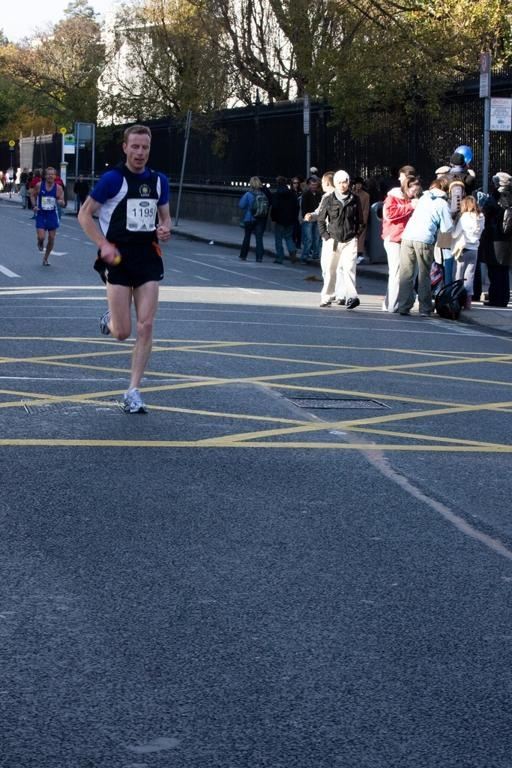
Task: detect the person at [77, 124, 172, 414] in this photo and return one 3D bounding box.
[{"bbox_3d":[-0.957,-0.794,6.289,0.615,2.084,0.604,2,5,-7],"label":"person"}]

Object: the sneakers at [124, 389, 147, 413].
[{"bbox_3d":[-0.924,0.146,6.595,0.101,0.125,0.265,-2,3,-18],"label":"sneakers"}]

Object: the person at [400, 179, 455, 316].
[{"bbox_3d":[2.686,-2.149,13.715,0.728,2.177,1.177,3,5,5],"label":"person"}]

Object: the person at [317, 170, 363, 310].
[{"bbox_3d":[1.421,-2.393,14.486,0.732,2.291,0.896,3,5,7],"label":"person"}]

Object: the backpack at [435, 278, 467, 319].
[{"bbox_3d":[3.196,-1.352,14.011,0.638,0.648,0.476,9,9,36],"label":"backpack"}]

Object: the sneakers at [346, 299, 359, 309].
[{"bbox_3d":[1.662,-1.357,14.677,0.105,0.128,0.295,-5,-10,-8],"label":"sneakers"}]

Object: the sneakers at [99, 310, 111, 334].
[{"bbox_3d":[-1.236,-0.486,7.079,0.125,0.169,0.372,1,15,-6],"label":"sneakers"}]
